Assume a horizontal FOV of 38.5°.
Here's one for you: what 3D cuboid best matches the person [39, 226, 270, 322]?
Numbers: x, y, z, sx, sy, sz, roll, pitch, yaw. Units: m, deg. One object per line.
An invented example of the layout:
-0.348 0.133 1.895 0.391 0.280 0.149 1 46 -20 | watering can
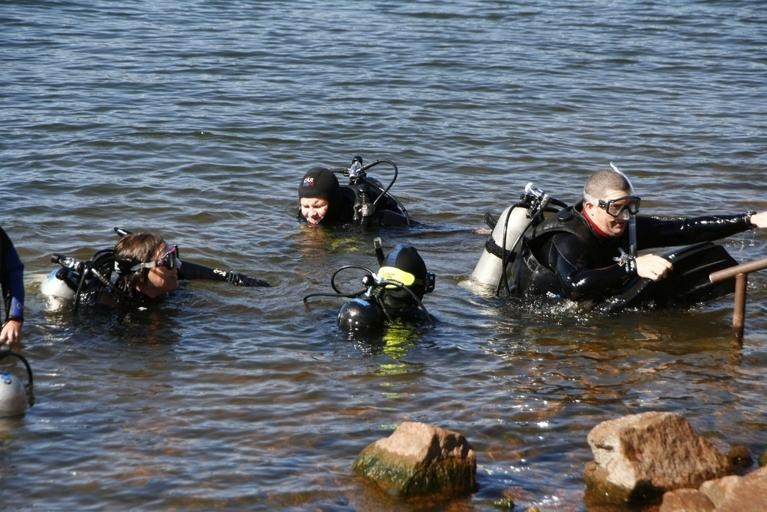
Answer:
-2.668 0.176 12.854 2.740 0.549 1.038 -2 18 -1 | person
